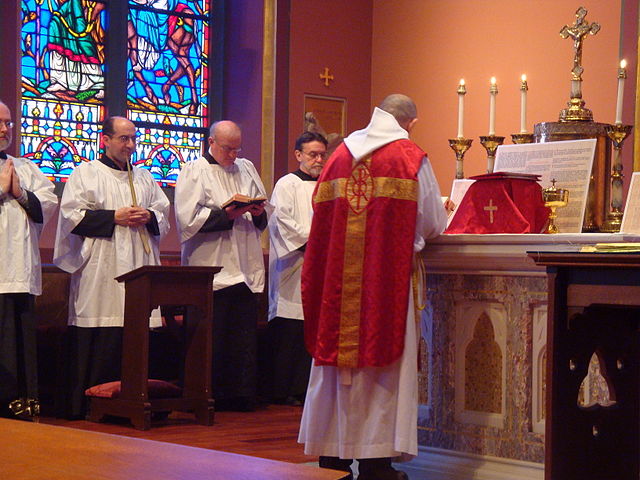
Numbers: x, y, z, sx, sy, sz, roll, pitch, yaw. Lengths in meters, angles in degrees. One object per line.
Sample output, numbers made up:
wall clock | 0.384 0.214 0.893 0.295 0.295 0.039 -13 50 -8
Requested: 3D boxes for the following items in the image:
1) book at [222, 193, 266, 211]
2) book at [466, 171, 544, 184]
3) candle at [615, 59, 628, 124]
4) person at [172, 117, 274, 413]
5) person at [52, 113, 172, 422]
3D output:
book | -0.517 -0.254 5.252 0.296 0.066 0.212 1 1 -8
book | 0.951 -0.316 3.911 0.205 0.035 0.218 -2 6 -40
candle | 1.625 -0.783 4.188 0.065 0.341 0.066 -5 10 -41
person | -0.715 0.188 5.518 0.658 1.448 0.660 1 1 -6
person | -1.481 0.169 5.437 0.757 2.088 0.524 1 1 -21
